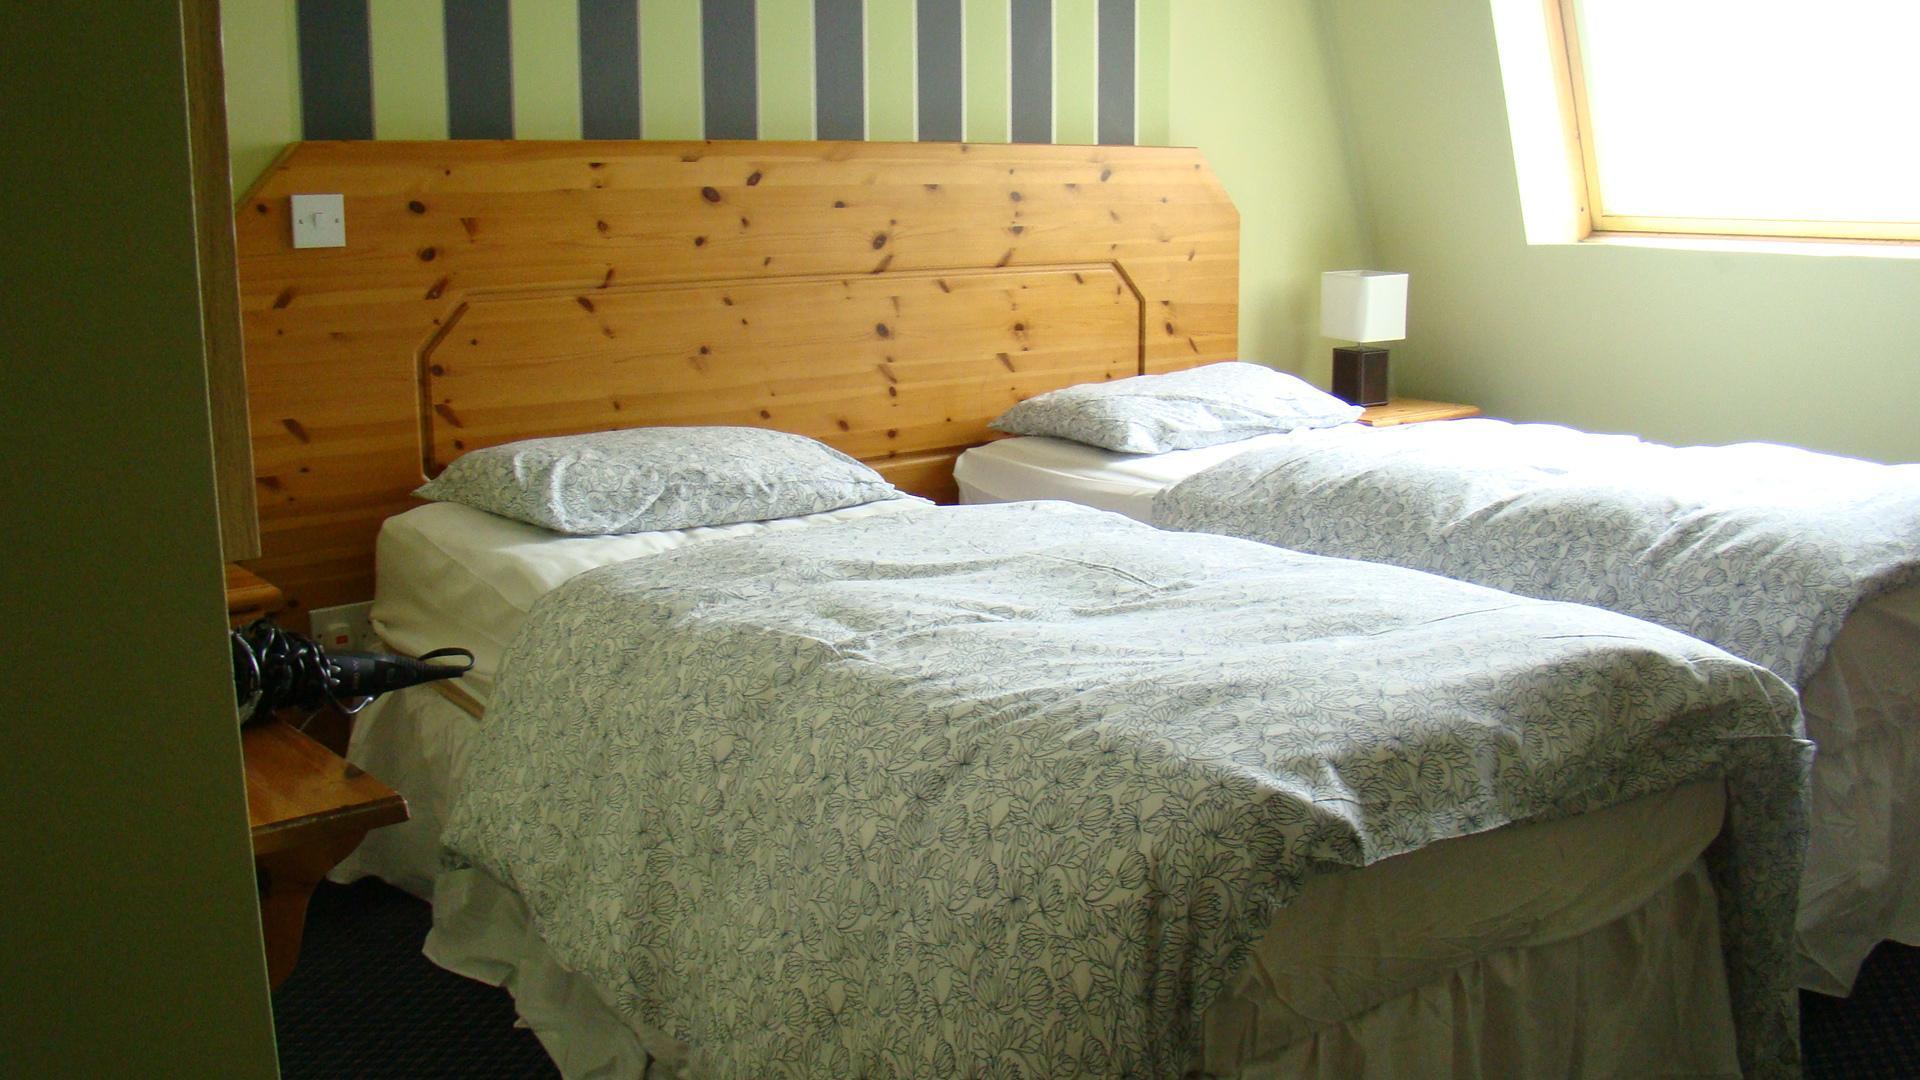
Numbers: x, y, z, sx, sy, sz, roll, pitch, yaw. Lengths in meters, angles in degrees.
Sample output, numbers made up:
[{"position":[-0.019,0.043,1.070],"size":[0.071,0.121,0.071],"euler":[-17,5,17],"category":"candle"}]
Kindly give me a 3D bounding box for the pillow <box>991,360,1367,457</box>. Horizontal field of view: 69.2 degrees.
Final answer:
[{"position":[0.767,-0.356,4.303],"size":[0.803,0.099,0.431],"euler":[-13,-1,-17],"category":"pillow"}]

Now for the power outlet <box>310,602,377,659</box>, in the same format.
[{"position":[-1.546,0.216,3.476],"size":[0.228,0.150,0.051],"euler":[-1,9,-39],"category":"power outlet"}]
